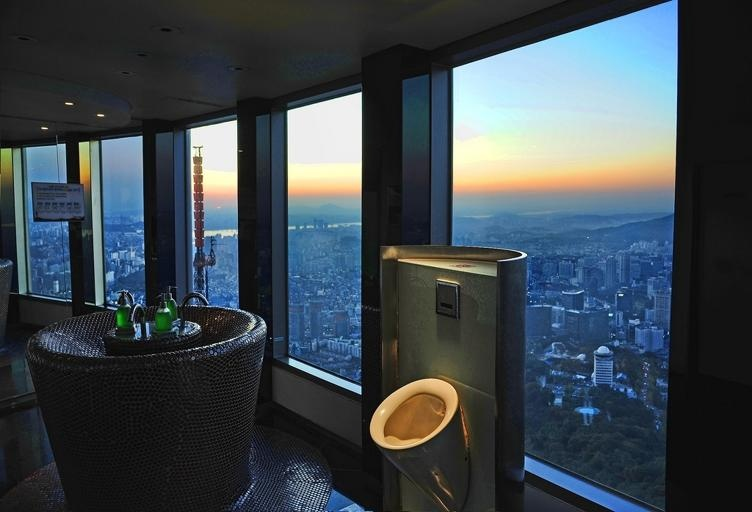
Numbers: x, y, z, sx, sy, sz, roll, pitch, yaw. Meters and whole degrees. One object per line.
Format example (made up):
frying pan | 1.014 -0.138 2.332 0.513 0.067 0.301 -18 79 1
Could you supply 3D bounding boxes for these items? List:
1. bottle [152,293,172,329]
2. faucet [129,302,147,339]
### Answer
bottle | -1.764 0.473 4.516 0.128 0.288 0.303 -2 4 -20
faucet | -1.926 0.525 4.427 0.121 0.258 0.382 -3 4 -23
